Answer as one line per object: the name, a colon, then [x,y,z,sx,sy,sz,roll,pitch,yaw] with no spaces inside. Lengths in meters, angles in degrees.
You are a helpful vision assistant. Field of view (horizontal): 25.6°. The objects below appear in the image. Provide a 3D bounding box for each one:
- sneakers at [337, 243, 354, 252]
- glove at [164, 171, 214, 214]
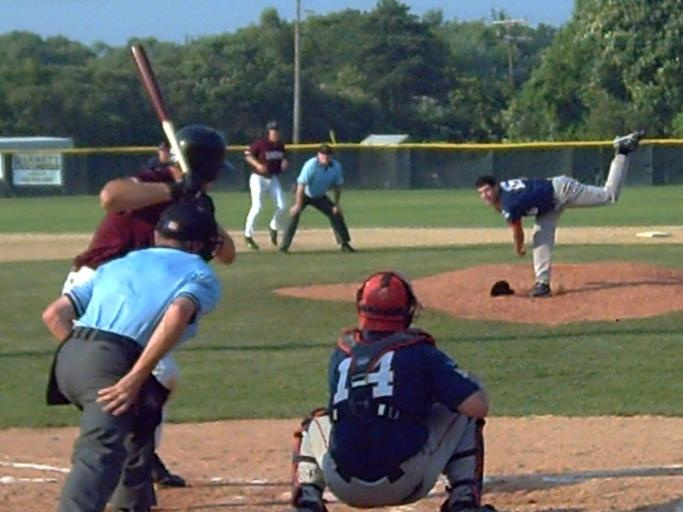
sneakers: [0.110,-0.260,37.333,0.403,0.276,0.150,-5,16,-20]
glove: [-2.955,-1.231,28.624,0.683,0.848,0.340,-5,5,7]
